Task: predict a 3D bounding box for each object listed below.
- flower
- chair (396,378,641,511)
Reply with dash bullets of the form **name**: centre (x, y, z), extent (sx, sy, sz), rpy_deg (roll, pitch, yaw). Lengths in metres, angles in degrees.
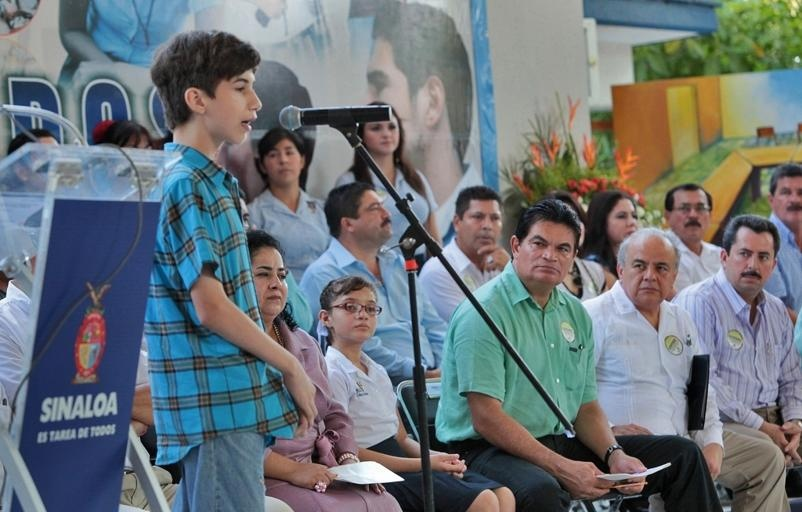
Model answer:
- **flower**: centre (1.441, -0.901, 8.096), extent (0.753, 0.746, 0.752), rpy_deg (-9, -30, 2)
- **chair**: centre (0.556, 0.868, 5.071), extent (1.081, 1.127, 0.833), rpy_deg (2, -8, -32)
